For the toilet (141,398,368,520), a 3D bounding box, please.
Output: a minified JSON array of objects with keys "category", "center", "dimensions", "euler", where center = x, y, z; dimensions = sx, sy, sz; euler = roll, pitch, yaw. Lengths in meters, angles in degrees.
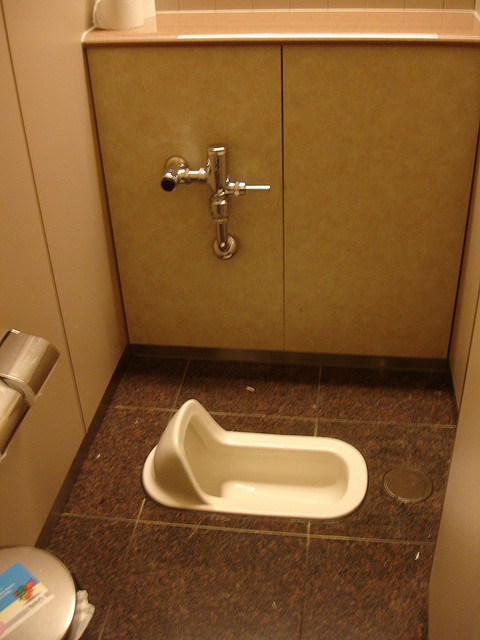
[{"category":"toilet","center":[0.053,0.418,1.452],"dimensions":[0.541,0.320,0.353],"euler":[-1,40,5]}]
